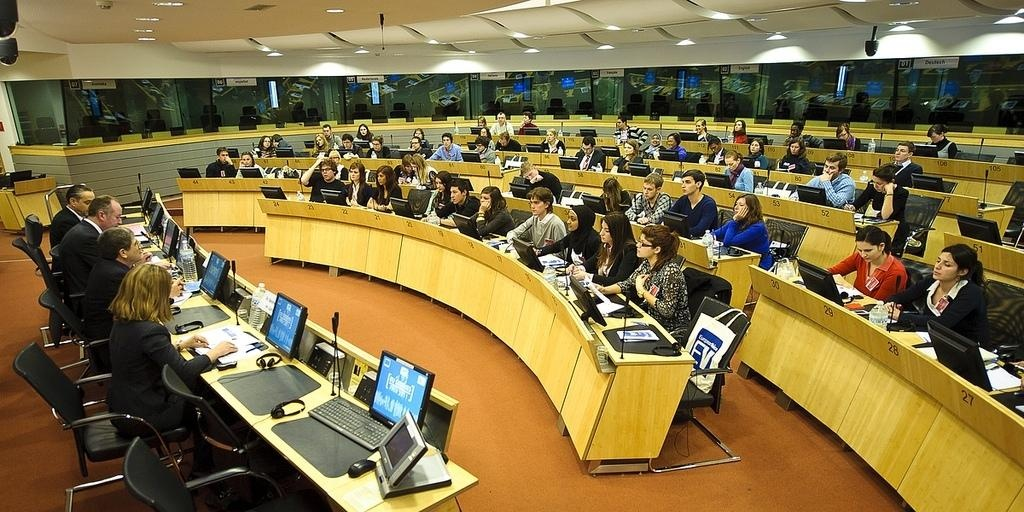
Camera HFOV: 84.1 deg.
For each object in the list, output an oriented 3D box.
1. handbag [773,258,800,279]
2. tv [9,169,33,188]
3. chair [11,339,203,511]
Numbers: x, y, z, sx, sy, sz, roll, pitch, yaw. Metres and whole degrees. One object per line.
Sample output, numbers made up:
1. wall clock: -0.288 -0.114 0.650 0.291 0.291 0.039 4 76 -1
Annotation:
1. handbag: 5.404 0.268 11.288 0.482 0.475 0.201 13 -22 6
2. tv: -14.779 -2.330 17.149 0.380 0.414 0.577 14 22 37
3. chair: -6.724 2.948 9.555 2.340 2.574 1.916 -9 30 -18
